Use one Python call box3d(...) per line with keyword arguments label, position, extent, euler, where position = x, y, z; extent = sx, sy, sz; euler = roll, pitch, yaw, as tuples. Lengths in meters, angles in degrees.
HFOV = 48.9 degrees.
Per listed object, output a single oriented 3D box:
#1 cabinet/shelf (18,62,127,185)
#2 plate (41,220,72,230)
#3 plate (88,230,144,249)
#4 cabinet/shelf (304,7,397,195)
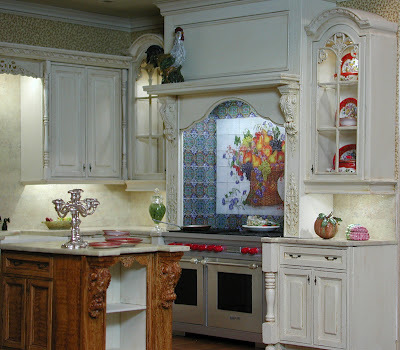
box3d(label="cabinet/shelf", position=(-1.696, -0.679, 5.640), extent=(1.313, 1.853, 0.806), euler=(3, -6, -35))
box3d(label="plate", position=(-1.811, 0.630, 5.561), extent=(0.342, 0.119, 0.254), euler=(0, 2, -13))
box3d(label="plate", position=(-0.682, 0.503, 3.478), extent=(0.421, 0.108, 0.427), euler=(0, 2, -28))
box3d(label="cabinet/shelf", position=(1.471, -0.723, 4.300), extent=(0.921, 1.800, 0.390), euler=(1, 1, 13))
